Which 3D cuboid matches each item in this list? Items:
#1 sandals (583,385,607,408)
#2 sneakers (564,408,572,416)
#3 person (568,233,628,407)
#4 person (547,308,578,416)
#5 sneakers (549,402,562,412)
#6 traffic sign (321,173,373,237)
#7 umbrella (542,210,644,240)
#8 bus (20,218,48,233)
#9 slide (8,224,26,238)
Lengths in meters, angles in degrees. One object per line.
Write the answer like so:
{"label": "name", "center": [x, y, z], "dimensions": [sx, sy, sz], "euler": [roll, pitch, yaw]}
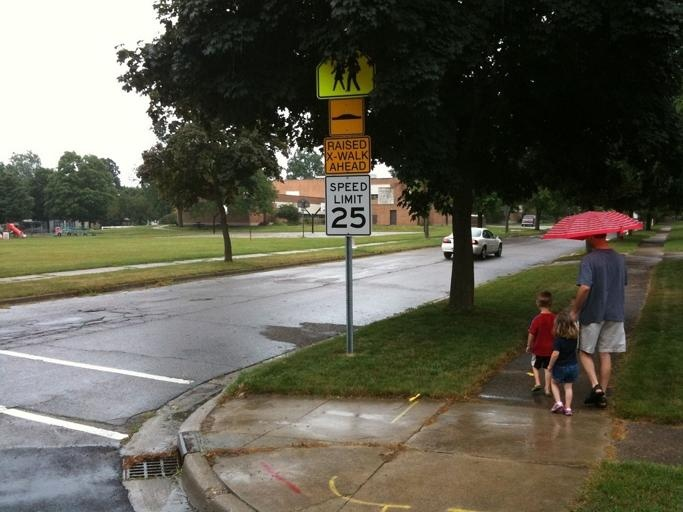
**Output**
{"label": "sandals", "center": [3.284, 1.847, 8.569], "dimensions": [0.167, 0.174, 0.391], "euler": [-2, -2, 12]}
{"label": "sneakers", "center": [2.865, 1.969, 8.414], "dimensions": [0.111, 0.081, 0.190], "euler": [-1, 5, 19]}
{"label": "person", "center": [3.359, 0.832, 8.678], "dimensions": [0.735, 2.237, 0.427], "euler": [-3, 6, 3]}
{"label": "person", "center": [2.845, 1.381, 8.536], "dimensions": [0.365, 1.232, 0.543], "euler": [-1, 6, 18]}
{"label": "sneakers", "center": [2.758, 1.930, 8.499], "dimensions": [0.146, 0.125, 0.181], "euler": [-1, 5, 18]}
{"label": "traffic sign", "center": [0.104, -0.817, 10.784], "dimensions": [0.754, 1.013, 0.430], "euler": [-3, 6, 3]}
{"label": "umbrella", "center": [3.419, -0.391, 9.059], "dimensions": [1.153, 0.432, 1.904], "euler": [-1, 5, 21]}
{"label": "bus", "center": [-41.990, -4.056, 91.060], "dimensions": [3.290, 1.855, 9.649], "euler": [-5, 5, -26]}
{"label": "slide", "center": [-35.484, -2.850, 72.455], "dimensions": [1.175, 1.491, 3.710], "euler": [-6, 6, -31]}
